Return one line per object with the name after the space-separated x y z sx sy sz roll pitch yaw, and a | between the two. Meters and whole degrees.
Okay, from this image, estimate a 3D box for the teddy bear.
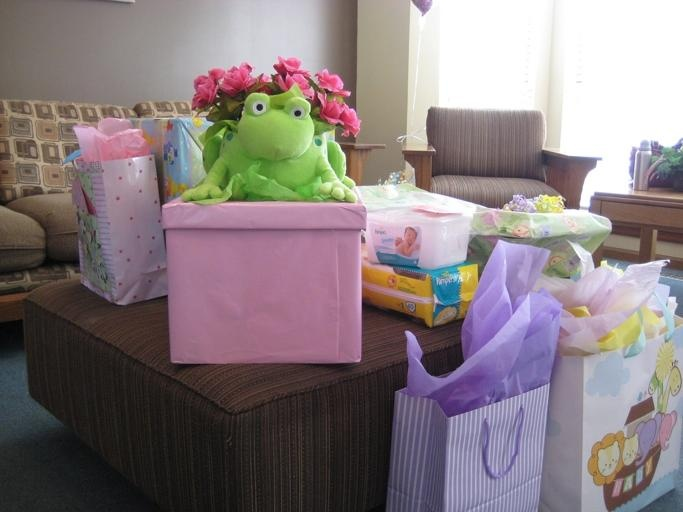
-0.146 -0.225 1.097 0.328 0.219 0.308 3 16 -4 | teddy bear

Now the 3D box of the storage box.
-0.136 0.047 0.948 0.277 0.245 0.302 0 6 -1 | storage box

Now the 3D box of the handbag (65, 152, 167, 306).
-0.528 -0.076 1.261 0.166 0.328 0.191 13 18 42 | handbag
